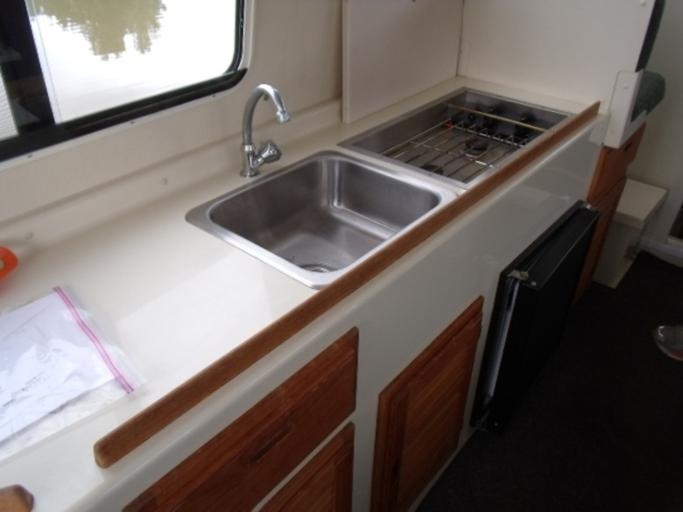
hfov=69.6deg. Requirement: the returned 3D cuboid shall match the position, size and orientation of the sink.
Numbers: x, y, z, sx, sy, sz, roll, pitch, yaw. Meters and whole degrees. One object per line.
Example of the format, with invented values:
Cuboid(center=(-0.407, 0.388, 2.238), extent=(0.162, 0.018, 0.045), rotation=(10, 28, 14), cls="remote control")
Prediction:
Cuboid(center=(-0.055, -0.054, 1.470), extent=(0.560, 0.264, 0.589), rotation=(24, 43, 29), cls="sink")
